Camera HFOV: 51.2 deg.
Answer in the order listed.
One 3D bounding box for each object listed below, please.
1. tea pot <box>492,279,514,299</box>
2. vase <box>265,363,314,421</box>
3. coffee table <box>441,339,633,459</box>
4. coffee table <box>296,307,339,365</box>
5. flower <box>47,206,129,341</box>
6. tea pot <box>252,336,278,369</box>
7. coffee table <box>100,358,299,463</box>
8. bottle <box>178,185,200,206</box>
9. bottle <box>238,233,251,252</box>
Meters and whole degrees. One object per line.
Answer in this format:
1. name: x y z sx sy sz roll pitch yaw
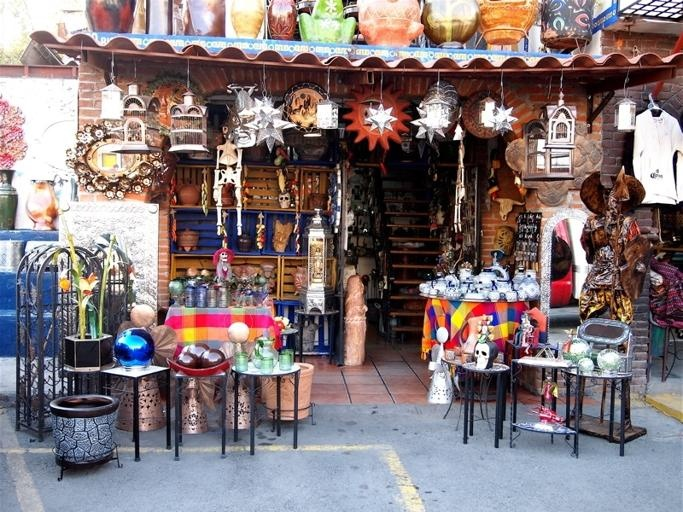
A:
1. tea pot: 2.009 0.418 8.843 0.246 0.245 0.187 1 -3 -4
2. vase: -0.587 1.485 7.930 0.563 0.484 0.614 1 -4 -4
3. coffee table: 1.983 1.552 7.774 1.492 0.744 1.110 0 -2 -6
4. coffee table: -0.281 1.166 10.321 0.706 0.731 0.697 0 -4 0
5. flower: -2.754 0.190 7.971 0.839 1.444 1.789 -2 11 -17
6. tea pot: -0.757 0.998 7.415 0.225 0.316 0.302 4 2 19
7. coffee table: -1.416 1.491 7.465 1.966 0.885 0.954 0 11 -5
8. bottle: -2.174 -0.917 10.516 0.312 0.371 0.288 2 10 0
9. bottle: -1.426 -0.203 10.625 0.245 0.280 0.161 -5 12 -27
